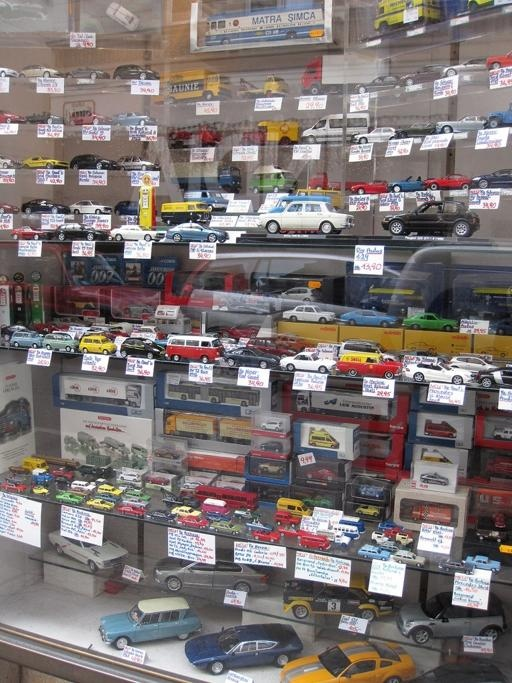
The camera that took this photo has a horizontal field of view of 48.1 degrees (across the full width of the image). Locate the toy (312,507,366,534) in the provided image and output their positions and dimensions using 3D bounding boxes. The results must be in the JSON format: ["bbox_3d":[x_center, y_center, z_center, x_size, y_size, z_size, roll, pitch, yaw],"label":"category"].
[{"bbox_3d":[0.332,0.739,2.379,0.116,0.033,0.082,6,22,19],"label":"toy"}]

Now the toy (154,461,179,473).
[{"bbox_3d":[-0.446,0.628,2.875,0.114,0.054,0.024,5,-6,8],"label":"toy"}]

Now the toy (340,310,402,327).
[{"bbox_3d":[0.450,-0.092,2.297,0.196,0.055,0.084,4,14,18],"label":"toy"}]

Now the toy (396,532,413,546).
[{"bbox_3d":[0.571,0.757,2.203,0.077,0.035,0.046,-4,9,-10],"label":"toy"}]

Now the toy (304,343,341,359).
[{"bbox_3d":[0.273,0.036,2.328,0.117,0.039,0.062,2,8,11],"label":"toy"}]

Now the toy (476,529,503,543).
[{"bbox_3d":[0.886,0.740,2.180,0.084,0.026,0.041,2,9,12],"label":"toy"}]

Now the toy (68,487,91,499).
[{"bbox_3d":[-0.838,0.720,2.729,0.067,0.029,0.039,3,12,11],"label":"toy"}]

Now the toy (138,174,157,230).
[{"bbox_3d":[-0.491,-0.629,2.563,0.077,0.258,0.166,-4,9,-8],"label":"toy"}]

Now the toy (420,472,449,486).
[{"bbox_3d":[0.721,0.557,2.330,0.093,0.033,0.044,0,25,17],"label":"toy"}]

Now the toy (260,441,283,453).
[{"bbox_3d":[0.077,0.487,2.662,0.080,0.033,0.045,6,7,17],"label":"toy"}]

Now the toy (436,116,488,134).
[{"bbox_3d":[0.725,-0.770,2.033,0.133,0.039,0.056,6,28,16],"label":"toy"}]

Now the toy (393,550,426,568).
[{"bbox_3d":[0.559,0.793,2.106,0.096,0.031,0.051,0,10,20],"label":"toy"}]

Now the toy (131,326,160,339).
[{"bbox_3d":[-0.513,-0.042,2.654,0.117,0.051,0.062,1,15,8],"label":"toy"}]

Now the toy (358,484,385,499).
[{"bbox_3d":[0.489,0.634,2.428,0.074,0.022,0.050,1,15,13],"label":"toy"}]

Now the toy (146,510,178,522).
[{"bbox_3d":[-0.424,0.771,2.546,0.087,0.025,0.051,2,11,9],"label":"toy"}]

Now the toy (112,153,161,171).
[{"bbox_3d":[-0.552,-0.831,2.655,0.212,0.075,0.077,1,20,11],"label":"toy"}]

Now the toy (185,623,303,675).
[{"bbox_3d":[-0.062,1.286,2.425,0.350,0.091,0.183,0,9,-8],"label":"toy"}]

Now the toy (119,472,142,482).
[{"bbox_3d":[-0.626,0.671,2.854,0.090,0.029,0.047,6,6,9],"label":"toy"}]

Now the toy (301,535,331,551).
[{"bbox_3d":[0.229,0.794,2.276,0.131,0.036,0.075,1,9,19],"label":"toy"}]

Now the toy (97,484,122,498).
[{"bbox_3d":[-0.707,0.712,2.744,0.087,0.039,0.052,2,11,9],"label":"toy"}]

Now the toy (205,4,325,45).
[{"bbox_3d":[0.034,-1.311,2.462,0.610,0.148,0.166,4,23,18],"label":"toy"}]

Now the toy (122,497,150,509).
[{"bbox_3d":[-0.554,0.740,2.632,0.077,0.023,0.047,2,13,11],"label":"toy"}]

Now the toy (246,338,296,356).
[{"bbox_3d":[0.062,0.007,2.401,0.184,0.059,0.080,4,16,19],"label":"toy"}]

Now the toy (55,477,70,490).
[{"bbox_3d":[-0.953,0.701,2.828,0.069,0.029,0.037,3,8,6],"label":"toy"}]

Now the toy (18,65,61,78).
[{"bbox_3d":[-1.016,-1.262,2.684,0.166,0.049,0.067,-1,27,1],"label":"toy"}]

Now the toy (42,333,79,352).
[{"bbox_3d":[-0.920,-0.003,2.708,0.158,0.068,0.084,2,13,9],"label":"toy"}]

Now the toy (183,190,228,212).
[{"bbox_3d":[-0.218,-0.597,2.463,0.168,0.076,0.097,2,12,15],"label":"toy"}]

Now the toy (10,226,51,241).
[{"bbox_3d":[-1.057,-0.512,2.705,0.200,0.069,0.074,2,10,27],"label":"toy"}]

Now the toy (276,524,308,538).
[{"bbox_3d":[0.141,0.777,2.358,0.083,0.026,0.038,1,14,15],"label":"toy"}]

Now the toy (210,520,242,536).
[{"bbox_3d":[-0.135,0.787,2.434,0.094,0.028,0.055,2,12,11],"label":"toy"}]

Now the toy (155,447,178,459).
[{"bbox_3d":[-0.449,0.562,2.887,0.092,0.030,0.053,2,8,8],"label":"toy"}]

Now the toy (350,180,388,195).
[{"bbox_3d":[0.434,-0.599,2.212,0.104,0.035,0.058,4,22,6],"label":"toy"}]

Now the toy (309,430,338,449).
[{"bbox_3d":[0.297,0.440,2.588,0.146,0.073,0.056,2,12,16],"label":"toy"}]

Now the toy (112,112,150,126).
[{"bbox_3d":[-0.572,-1.016,2.621,0.130,0.044,0.074,3,32,6],"label":"toy"}]

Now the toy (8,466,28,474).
[{"bbox_3d":[-1.242,0.672,3.004,0.072,0.016,0.046,3,3,2],"label":"toy"}]

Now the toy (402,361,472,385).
[{"bbox_3d":[0.657,0.117,2.084,0.190,0.056,0.082,2,10,21],"label":"toy"}]

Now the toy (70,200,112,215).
[{"bbox_3d":[-0.771,-0.640,2.704,0.190,0.062,0.078,2,17,8],"label":"toy"}]

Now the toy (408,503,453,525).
[{"bbox_3d":[0.695,0.678,2.269,0.186,0.082,0.061,4,5,18],"label":"toy"}]

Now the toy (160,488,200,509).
[{"bbox_3d":[-0.355,0.729,2.675,0.122,0.055,0.071,3,5,12],"label":"toy"}]

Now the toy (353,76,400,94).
[{"bbox_3d":[0.462,-0.984,2.200,0.126,0.041,0.060,9,31,27],"label":"toy"}]

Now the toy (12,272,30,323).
[{"bbox_3d":[-1.218,-0.225,2.977,0.092,0.263,0.056,1,10,21],"label":"toy"}]

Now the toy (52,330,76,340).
[{"bbox_3d":[-0.914,-0.030,2.700,0.084,0.021,0.051,8,14,10],"label":"toy"}]
